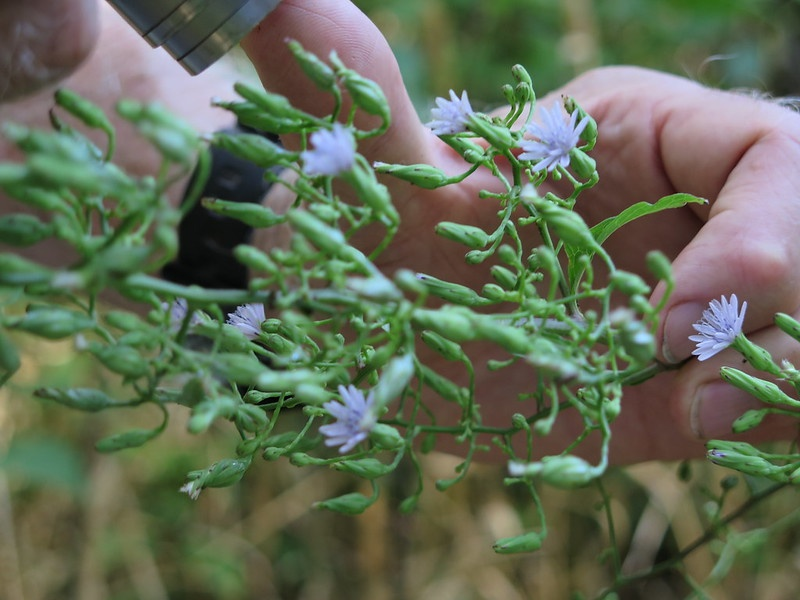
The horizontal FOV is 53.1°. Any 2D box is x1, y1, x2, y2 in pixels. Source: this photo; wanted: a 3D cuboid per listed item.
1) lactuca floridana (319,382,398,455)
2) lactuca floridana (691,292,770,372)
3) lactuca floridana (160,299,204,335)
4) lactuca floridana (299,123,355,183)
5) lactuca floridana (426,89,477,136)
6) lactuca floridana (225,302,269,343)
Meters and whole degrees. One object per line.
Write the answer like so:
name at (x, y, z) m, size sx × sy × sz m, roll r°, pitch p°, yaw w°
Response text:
lactuca floridana at (-0.047, 0.129, 0.886) m, size 0.031 × 0.084 × 0.071 m, roll 1°, pitch -15°, yaw 34°
lactuca floridana at (0.450, 0.059, 1.058) m, size 0.113 × 0.070 × 0.068 m, roll 27°, pitch 20°, yaw 18°
lactuca floridana at (-0.260, 0.017, 0.968) m, size 0.042 × 0.056 × 0.022 m, roll 10°, pitch -25°, yaw 16°
lactuca floridana at (-0.079, -0.152, 0.845) m, size 0.024 × 0.052 × 0.060 m, roll -142°, pitch -146°, yaw -64°
lactuca floridana at (0.067, -0.241, 1.046) m, size 0.055 × 0.065 × 0.101 m, roll 38°, pitch 7°, yaw -5°
lactuca floridana at (-0.205, 0.032, 1.058) m, size 0.043 × 0.052 × 0.023 m, roll 3°, pitch -5°, yaw 34°
